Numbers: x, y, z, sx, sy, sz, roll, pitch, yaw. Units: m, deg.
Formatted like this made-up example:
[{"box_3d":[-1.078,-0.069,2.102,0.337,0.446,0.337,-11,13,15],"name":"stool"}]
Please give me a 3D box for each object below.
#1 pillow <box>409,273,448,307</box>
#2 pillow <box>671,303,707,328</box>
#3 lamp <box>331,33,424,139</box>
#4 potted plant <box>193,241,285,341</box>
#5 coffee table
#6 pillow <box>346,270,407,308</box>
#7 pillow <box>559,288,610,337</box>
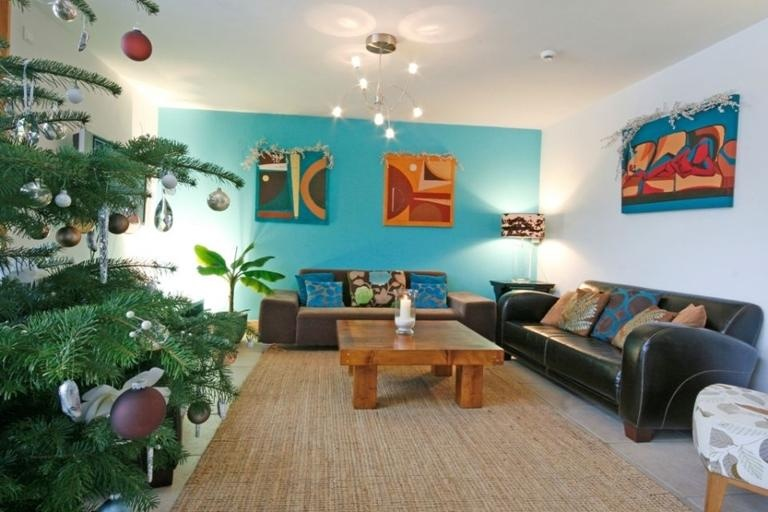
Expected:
[{"box_3d":[0.489,0.386,5.819,0.351,0.340,0.126,1,-15,1],"name":"pillow"},{"box_3d":[2.235,0.443,3.818,0.216,0.050,0.215,-11,28,49],"name":"pillow"},{"box_3d":[-0.004,-1.681,5.264,0.819,0.761,0.855,3,5,27],"name":"lamp"},{"box_3d":[-1.599,0.302,5.522,0.864,0.699,0.918,3,13,-37],"name":"potted plant"},{"box_3d":[0.242,0.733,3.968,0.889,0.297,0.749,0,4,-9],"name":"coffee table"},{"box_3d":[-0.068,0.373,6.047,0.690,0.453,0.236,0,22,-2],"name":"pillow"},{"box_3d":[1.796,0.500,4.770,0.142,0.456,0.480,38,-7,-19],"name":"pillow"}]
